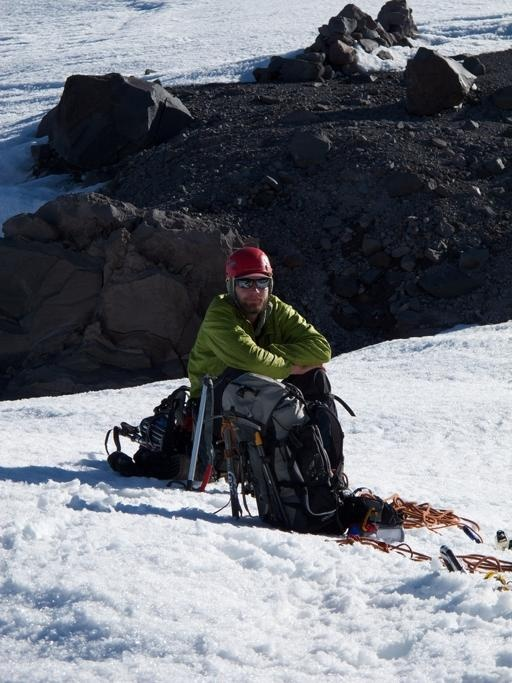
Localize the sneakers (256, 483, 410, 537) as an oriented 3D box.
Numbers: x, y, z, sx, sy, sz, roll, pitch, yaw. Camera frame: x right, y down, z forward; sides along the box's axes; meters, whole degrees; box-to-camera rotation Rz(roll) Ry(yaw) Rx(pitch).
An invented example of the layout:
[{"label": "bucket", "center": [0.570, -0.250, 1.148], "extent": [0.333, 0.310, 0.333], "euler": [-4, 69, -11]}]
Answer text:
[{"label": "sneakers", "center": [0.394, 0.883, 3.898], "extent": [0.692, 0.172, 0.189], "euler": [7, 4, 0]}]

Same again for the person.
[{"label": "person", "center": [0.050, -0.053, 4.412], "extent": [0.790, 0.783, 0.689], "euler": [9, 5, -5]}]

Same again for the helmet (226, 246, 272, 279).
[{"label": "helmet", "center": [-0.044, -0.445, 4.416], "extent": [0.274, 0.199, 0.220], "euler": [9, 4, 4]}]
